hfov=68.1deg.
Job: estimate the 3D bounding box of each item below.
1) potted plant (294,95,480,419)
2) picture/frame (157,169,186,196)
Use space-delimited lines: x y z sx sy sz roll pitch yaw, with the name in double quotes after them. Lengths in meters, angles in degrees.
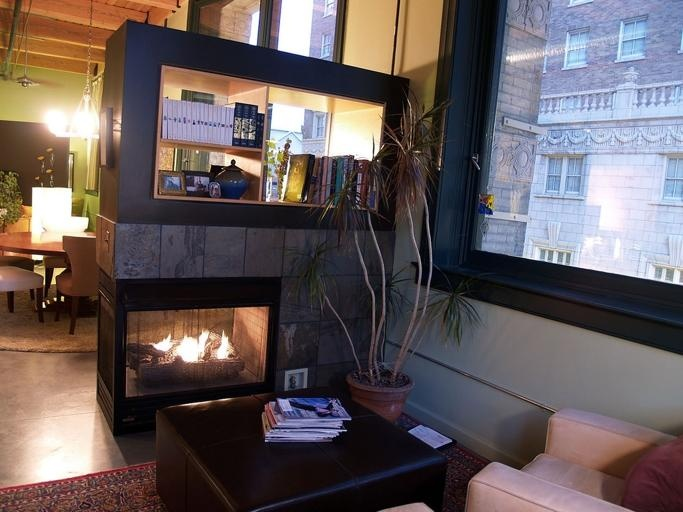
0.284 -0.032 3.961 0.911 2.447 1.125 5 10 11 "potted plant"
-1.212 -0.518 3.597 0.190 0.183 0.097 -1 -1 -41 "picture/frame"
